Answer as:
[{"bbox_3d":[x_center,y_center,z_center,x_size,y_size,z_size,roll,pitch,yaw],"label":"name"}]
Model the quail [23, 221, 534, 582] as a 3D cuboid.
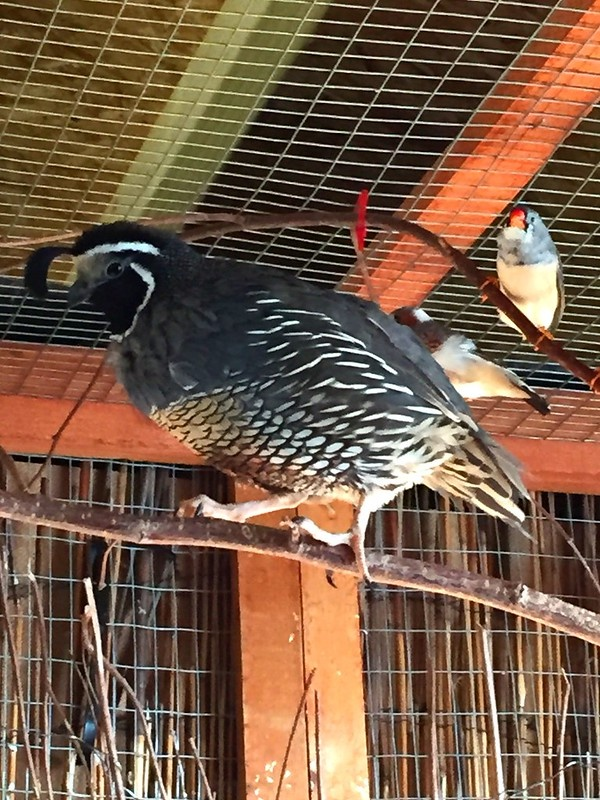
[{"bbox_3d":[0.042,-0.008,3.213,0.910,0.527,0.390,1,-4,-22],"label":"quail"}]
